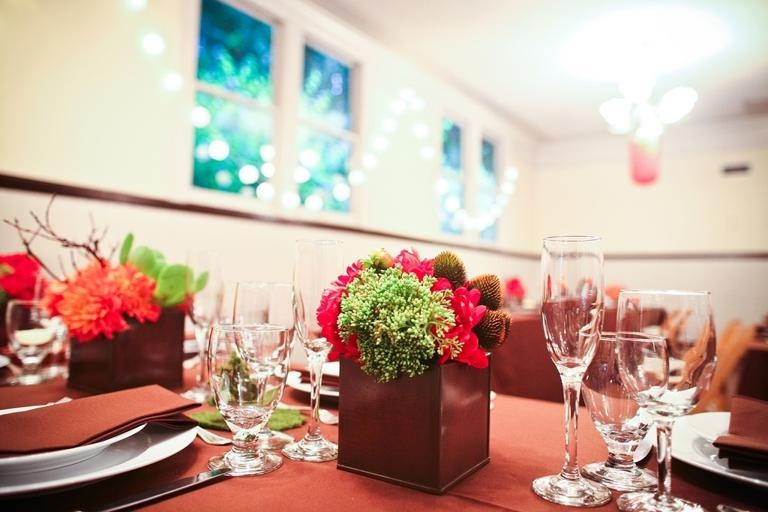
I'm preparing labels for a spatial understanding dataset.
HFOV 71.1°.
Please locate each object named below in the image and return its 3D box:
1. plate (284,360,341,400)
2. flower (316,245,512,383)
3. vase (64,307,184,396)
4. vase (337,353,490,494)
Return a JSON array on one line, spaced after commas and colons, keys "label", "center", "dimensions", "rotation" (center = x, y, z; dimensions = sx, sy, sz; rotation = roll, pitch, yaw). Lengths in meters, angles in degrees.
[{"label": "plate", "center": [-0.174, 0.312, 1.338], "dimensions": [0.150, 0.034, 0.151], "rotation": [1, 0, 6]}, {"label": "flower", "center": [0.065, 0.130, 1.173], "dimensions": [0.384, 0.251, 0.340], "rotation": [1, -5, -29]}, {"label": "vase", "center": [-0.695, 0.233, 1.456], "dimensions": [0.227, 0.202, 0.241], "rotation": [-4, -5, 41]}, {"label": "vase", "center": [0.076, 0.324, 1.165], "dimensions": [0.257, 0.233, 0.258], "rotation": [-2, -6, 34]}]
